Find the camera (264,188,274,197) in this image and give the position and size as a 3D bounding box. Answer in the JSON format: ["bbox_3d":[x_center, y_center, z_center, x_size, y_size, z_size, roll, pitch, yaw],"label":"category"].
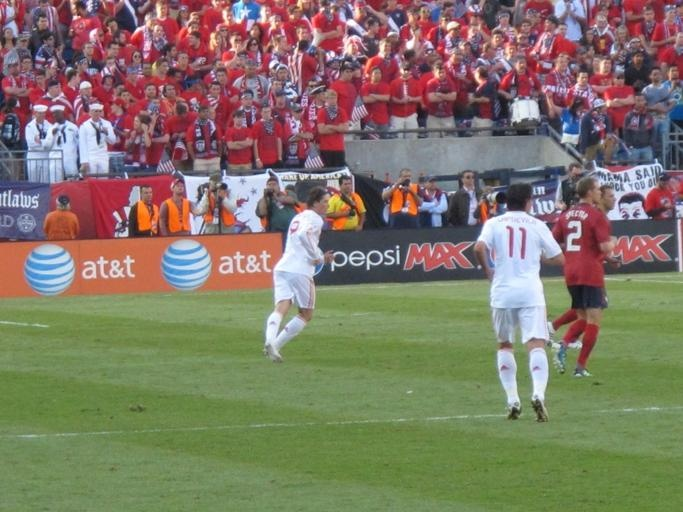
[{"bbox_3d":[-1.524,-1.381,37.560,0.128,0.175,0.069,0,37,7],"label":"camera"}]

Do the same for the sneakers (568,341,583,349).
[{"bbox_3d":[3.813,1.425,29.025,0.123,0.115,0.286,1,-6,-4],"label":"sneakers"}]

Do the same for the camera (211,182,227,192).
[{"bbox_3d":[-2.553,-1.477,37.461,0.250,0.154,0.185,0,3,1],"label":"camera"}]

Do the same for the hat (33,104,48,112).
[{"bbox_3d":[-6.325,-3.138,37.514,0.301,0.174,0.270,-3,4,-21],"label":"hat"}]

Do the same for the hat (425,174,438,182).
[{"bbox_3d":[2.037,-1.804,40.313,0.245,0.124,0.379,1,-3,-11],"label":"hat"}]

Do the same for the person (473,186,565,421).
[{"bbox_3d":[2.537,0.641,25.600,1.104,3.408,0.754,0,4,14],"label":"person"}]

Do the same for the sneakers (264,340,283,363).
[{"bbox_3d":[-1.089,1.472,27.894,0.162,0.417,0.193,-34,9,-7],"label":"sneakers"}]

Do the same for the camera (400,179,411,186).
[{"bbox_3d":[1.383,-1.627,38.523,0.166,0.138,0.276,-1,4,4],"label":"camera"}]

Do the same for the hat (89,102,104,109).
[{"bbox_3d":[-5.199,-3.193,37.669,0.270,0.202,0.331,-2,4,-10],"label":"hat"}]

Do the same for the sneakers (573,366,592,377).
[{"bbox_3d":[3.784,1.782,27.727,0.297,0.136,0.113,2,9,-27],"label":"sneakers"}]

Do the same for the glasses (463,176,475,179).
[{"bbox_3d":[2.765,-1.747,38.727,0.187,0.090,0.187,-1,4,-3],"label":"glasses"}]

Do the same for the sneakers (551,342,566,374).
[{"bbox_3d":[3.394,1.530,27.670,0.246,0.549,0.183,-7,3,-18],"label":"sneakers"}]

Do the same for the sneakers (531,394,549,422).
[{"bbox_3d":[2.795,2.181,25.345,0.158,0.442,0.212,-11,-2,35],"label":"sneakers"}]

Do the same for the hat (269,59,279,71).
[{"bbox_3d":[-1.514,-4.358,40.428,0.191,0.262,0.485,-3,4,-21],"label":"hat"}]

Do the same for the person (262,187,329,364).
[{"bbox_3d":[-0.739,0.228,28.318,1.165,2.673,0.756,-3,4,-28],"label":"person"}]
